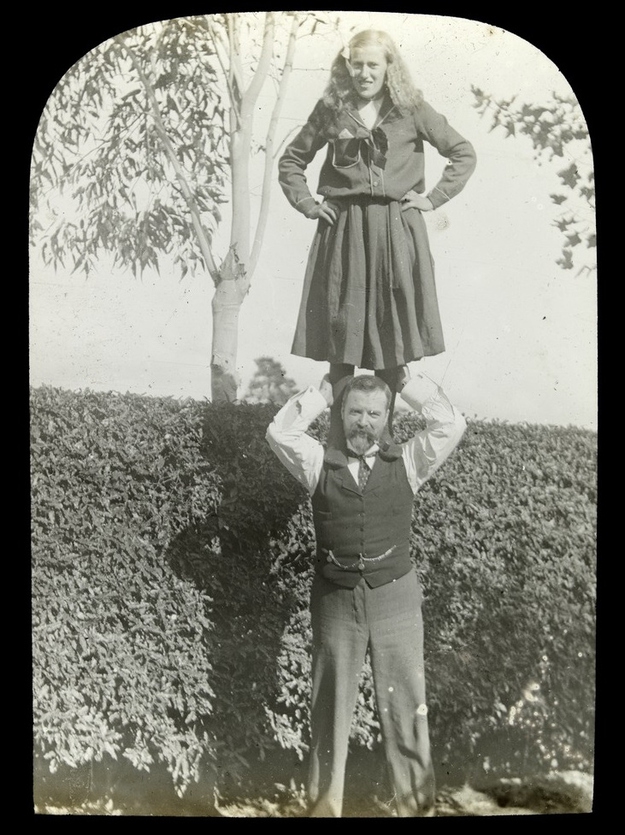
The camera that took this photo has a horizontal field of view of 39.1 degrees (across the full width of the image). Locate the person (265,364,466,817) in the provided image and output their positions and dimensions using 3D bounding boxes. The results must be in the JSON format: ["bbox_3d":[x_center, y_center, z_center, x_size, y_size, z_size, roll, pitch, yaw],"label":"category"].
[{"bbox_3d":[0.195,0.752,3.391,0.638,1.988,0.284,-1,17,2],"label":"person"}]
